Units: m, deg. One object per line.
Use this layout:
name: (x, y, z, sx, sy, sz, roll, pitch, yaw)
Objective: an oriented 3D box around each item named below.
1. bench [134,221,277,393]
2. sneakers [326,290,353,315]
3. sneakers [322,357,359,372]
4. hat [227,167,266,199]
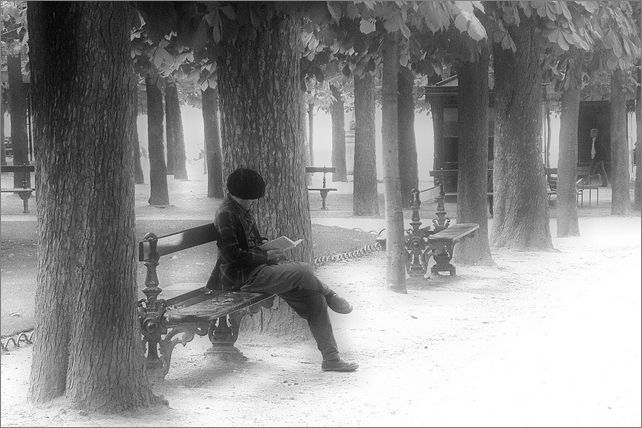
bench: (-1.314, 1.050, 9.913, 0.986, 1.496, 2.305, 6, 4, 14)
sneakers: (0.195, 0.994, 9.439, 0.362, 0.144, 0.168, 22, 42, 22)
sneakers: (0.179, 1.646, 9.303, 0.364, 0.137, 0.151, -1, 1, 1)
hat: (-0.840, -0.347, 9.632, 0.358, 0.376, 0.458, 1, -9, 34)
